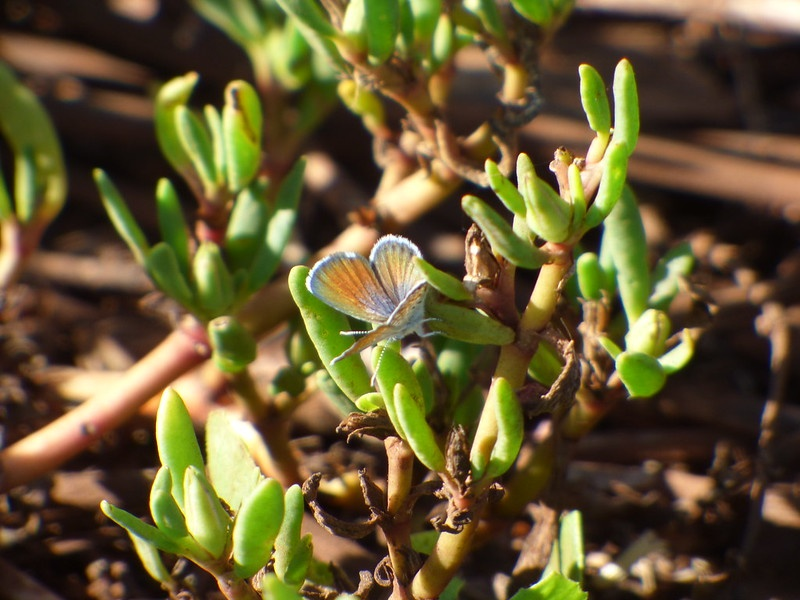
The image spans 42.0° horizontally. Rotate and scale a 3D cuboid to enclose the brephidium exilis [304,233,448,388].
[{"bbox_3d":[-0.016,0.031,1.703,0.194,0.254,0.130,-22,38,26],"label":"brephidium exilis"}]
